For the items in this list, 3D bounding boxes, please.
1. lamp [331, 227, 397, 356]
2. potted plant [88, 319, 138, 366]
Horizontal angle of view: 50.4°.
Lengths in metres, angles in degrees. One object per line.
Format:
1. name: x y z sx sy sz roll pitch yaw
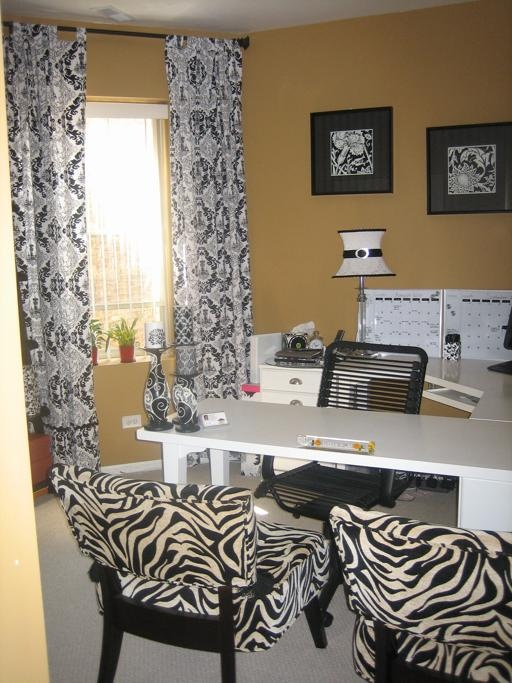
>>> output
1. lamp: 0.639 -0.325 3.222 0.345 0.640 0.515 3 7 11
2. potted plant: -0.947 0.006 3.585 0.288 0.241 0.285 0 2 -13
